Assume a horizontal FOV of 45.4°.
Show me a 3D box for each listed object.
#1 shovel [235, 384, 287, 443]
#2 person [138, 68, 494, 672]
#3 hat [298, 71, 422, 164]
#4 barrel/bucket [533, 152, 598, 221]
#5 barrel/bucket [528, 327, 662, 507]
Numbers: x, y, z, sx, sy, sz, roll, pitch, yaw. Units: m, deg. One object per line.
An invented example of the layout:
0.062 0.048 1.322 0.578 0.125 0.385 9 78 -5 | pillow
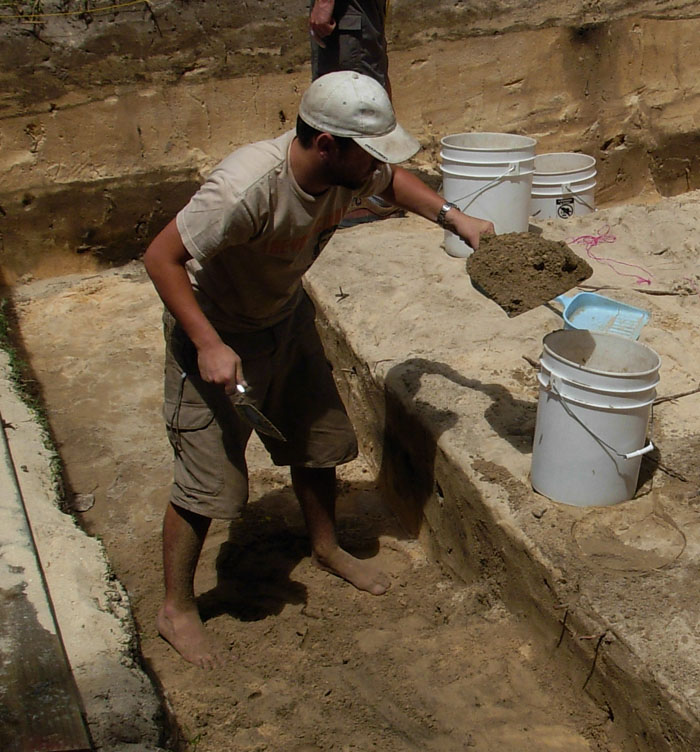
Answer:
-0.274 0.108 2.384 0.062 0.221 0.073 -35 43 13 | shovel
-0.192 -0.010 2.558 1.106 1.751 0.639 -9 24 -6 | person
0.015 -0.666 2.153 0.292 0.236 0.190 -1 22 11 | hat
1.263 -1.117 4.954 0.523 0.370 0.408 -4 35 1 | barrel/bucket
0.744 0.137 2.543 0.503 0.416 0.456 14 36 23 | barrel/bucket
